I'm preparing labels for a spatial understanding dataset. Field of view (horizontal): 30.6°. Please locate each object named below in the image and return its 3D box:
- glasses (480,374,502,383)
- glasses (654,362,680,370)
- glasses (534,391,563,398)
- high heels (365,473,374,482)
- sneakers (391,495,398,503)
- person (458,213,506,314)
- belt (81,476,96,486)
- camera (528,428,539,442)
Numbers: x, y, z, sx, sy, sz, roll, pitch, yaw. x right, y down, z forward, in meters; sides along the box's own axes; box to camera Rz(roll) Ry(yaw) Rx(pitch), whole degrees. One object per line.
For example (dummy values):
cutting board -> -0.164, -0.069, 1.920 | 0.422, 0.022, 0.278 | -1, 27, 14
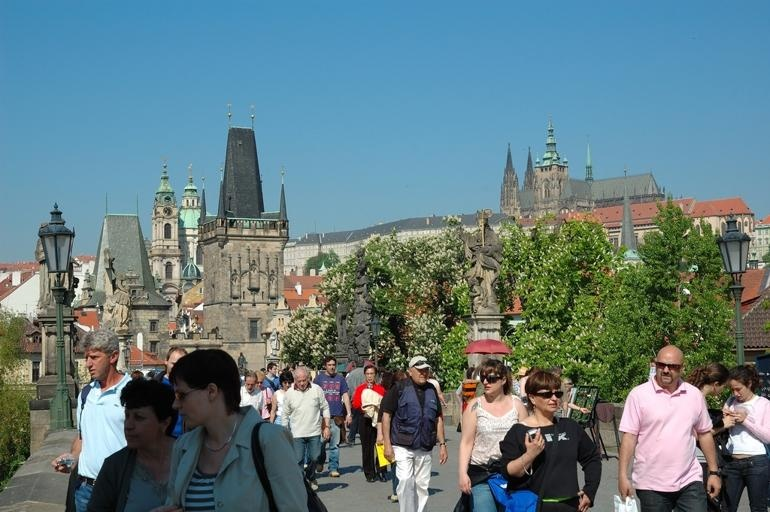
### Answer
glasses -> 1.870, 2.170, 24.991 | 0.407, 0.150, 0.182 | -4, -6, 14
glasses -> 4.890, 1.897, 24.383 | 0.422, 0.147, 0.127 | -4, -6, 16
glasses -> 2.752, 2.343, 23.892 | 0.487, 0.155, 0.121 | -1, -6, -10
high heels -> -0.346, 4.971, 31.292 | 0.141, 0.117, 0.114 | -7, -9, 15
sneakers -> 0.188, 5.046, 29.164 | 0.120, 0.157, 0.453 | -2, -6, -6
person -> 2.985, 0.172, 42.737 | 1.119, 3.272, 1.383 | -3, -5, 3
belt -> -4.960, 3.787, 23.652 | 0.219, 0.112, 0.168 | 6, 3, 29
camera -> 2.489, 3.024, 23.702 | 0.141, 0.212, 0.220 | 0, -6, -26
